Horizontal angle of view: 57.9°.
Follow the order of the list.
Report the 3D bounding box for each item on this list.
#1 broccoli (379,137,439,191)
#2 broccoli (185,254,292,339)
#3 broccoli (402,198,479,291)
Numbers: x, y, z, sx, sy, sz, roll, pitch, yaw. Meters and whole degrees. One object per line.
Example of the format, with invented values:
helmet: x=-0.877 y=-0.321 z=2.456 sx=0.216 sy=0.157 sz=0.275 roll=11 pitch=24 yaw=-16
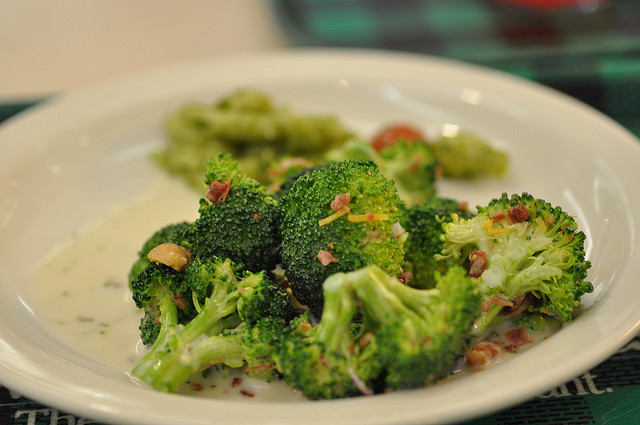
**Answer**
broccoli: x=0.464 y=-0.268 z=3.060 sx=0.246 sy=0.145 sz=0.299 roll=-6 pitch=40 yaw=-28
broccoli: x=-0.336 y=0.310 z=2.152 sx=0.237 sy=0.318 sz=0.290 roll=-51 pitch=118 yaw=-14
broccoli: x=0.431 y=0.106 z=2.364 sx=0.298 sy=0.292 sz=0.364 roll=9 pitch=88 yaw=-5
